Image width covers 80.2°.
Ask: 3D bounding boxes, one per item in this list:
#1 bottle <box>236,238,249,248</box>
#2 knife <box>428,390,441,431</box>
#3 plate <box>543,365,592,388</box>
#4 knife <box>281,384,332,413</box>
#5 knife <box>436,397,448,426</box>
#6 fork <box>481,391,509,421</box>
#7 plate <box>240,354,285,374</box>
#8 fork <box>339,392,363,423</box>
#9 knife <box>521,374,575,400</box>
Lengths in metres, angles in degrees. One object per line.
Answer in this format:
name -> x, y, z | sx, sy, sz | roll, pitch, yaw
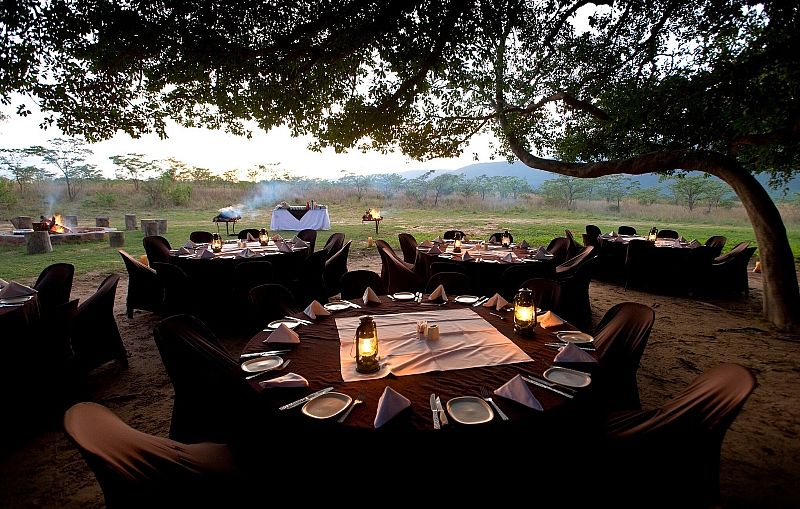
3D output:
bottle -> -2.841, -0.178, 8.655 | 0.249, 0.172, 0.242 | 0, 7, 0
knife -> 0.326, 1.451, 4.419 | 0.111, 0.031, 0.359 | 0, 29, -1
plate -> 1.641, 1.193, 4.659 | 0.284, 0.041, 0.211 | 3, 17, 27
knife -> -0.885, 1.354, 4.485 | 0.571, 0.047, 0.080 | -16, 26, -29
knife -> 0.401, 1.450, 4.413 | 0.060, 0.026, 0.260 | -6, 24, -6
fork -> 0.905, 1.419, 4.473 | 0.081, 0.049, 0.434 | -14, 22, -12
plate -> -1.360, 1.088, 4.743 | 0.285, 0.039, 0.179 | -4, 28, -13
fork -> -0.443, 1.429, 4.438 | 0.086, 0.059, 0.405 | 20, 22, 8
knife -> 1.420, 1.273, 4.561 | 0.460, 0.047, 0.069 | 21, 48, 41
